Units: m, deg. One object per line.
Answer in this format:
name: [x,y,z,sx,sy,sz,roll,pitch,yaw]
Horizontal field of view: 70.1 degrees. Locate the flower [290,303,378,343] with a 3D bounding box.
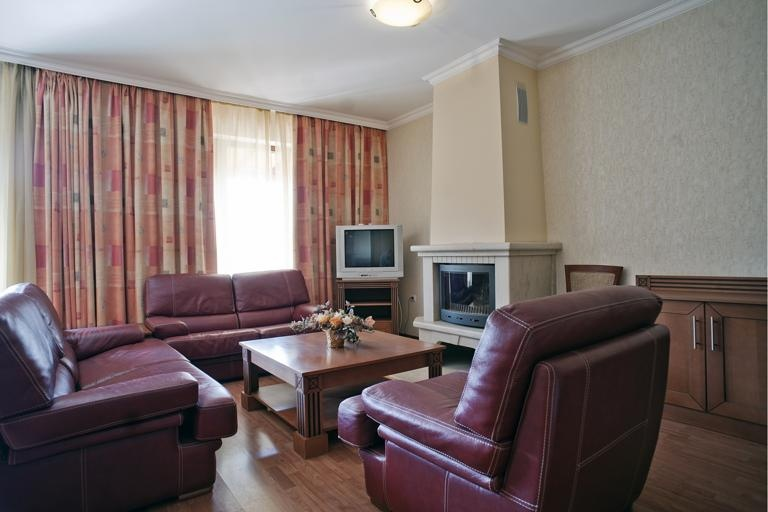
flower: [-0.441,0.585,4.844,0.525,0.268,0.488,-1,0,3]

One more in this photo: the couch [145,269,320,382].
couch: [-1.787,0.562,6.016,1.925,1.088,1.062,1,-9,-37]

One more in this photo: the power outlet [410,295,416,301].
power outlet: [0.392,0.570,7.323,0.024,0.066,0.072,2,-3,-42]

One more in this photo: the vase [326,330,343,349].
vase: [-0.422,0.725,4.753,0.147,0.149,0.159,3,8,32]

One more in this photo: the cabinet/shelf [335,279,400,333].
cabinet/shelf: [-0.192,0.584,6.443,0.700,0.663,0.315,-1,-2,7]

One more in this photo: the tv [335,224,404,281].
tv: [-0.198,-0.040,7.189,1.137,0.935,0.610,0,3,-2]
